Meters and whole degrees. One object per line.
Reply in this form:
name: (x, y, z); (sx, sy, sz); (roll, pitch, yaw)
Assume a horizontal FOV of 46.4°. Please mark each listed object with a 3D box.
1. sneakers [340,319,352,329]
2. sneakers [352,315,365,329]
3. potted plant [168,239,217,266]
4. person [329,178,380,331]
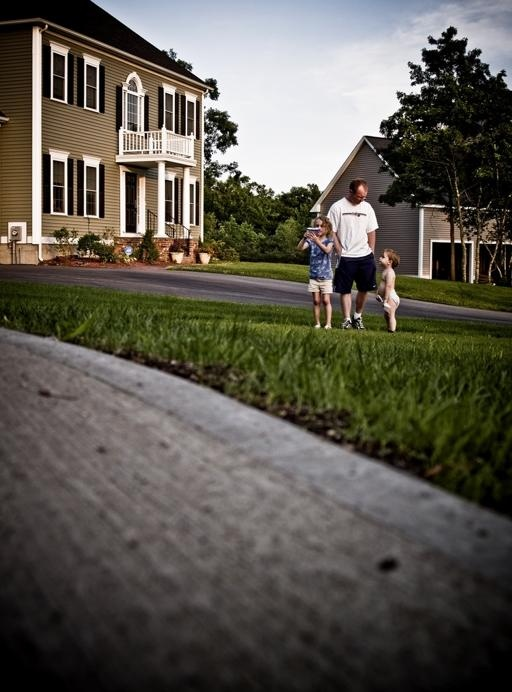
sneakers: (1.183, -0.276, 7.828); (0.086, 0.071, 0.159); (5, 41, 15)
sneakers: (1.374, -0.314, 7.932); (0.095, 0.151, 0.301); (0, 8, -14)
potted plant: (-2.741, -4.057, 25.510); (1.158, 0.980, 3.238); (5, 10, 20)
person: (1.260, -1.169, 7.869); (0.641, 1.941, 1.059); (3, 9, 10)
